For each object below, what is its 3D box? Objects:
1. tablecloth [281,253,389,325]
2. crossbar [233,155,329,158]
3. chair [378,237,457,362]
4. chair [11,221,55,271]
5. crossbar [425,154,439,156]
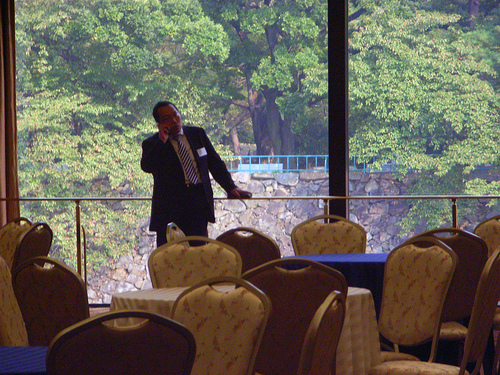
[{"bbox_3d":[2.147,1.523,12.479,1.380,0.897,1.355,-2,-1,29],"label":"tablecloth"},{"bbox_3d":[0.817,-0.866,23.646,2.411,0.068,0.268,0,2,6],"label":"crossbar"},{"bbox_3d":[2.232,1.493,11.762,0.784,1.952,0.941,2,7,4],"label":"chair"},{"bbox_3d":[-3.142,0.851,12.371,0.409,0.740,0.372,19,-5,44],"label":"chair"},{"bbox_3d":[4.647,-0.848,22.215,0.301,0.039,0.061,0,3,4],"label":"crossbar"}]
